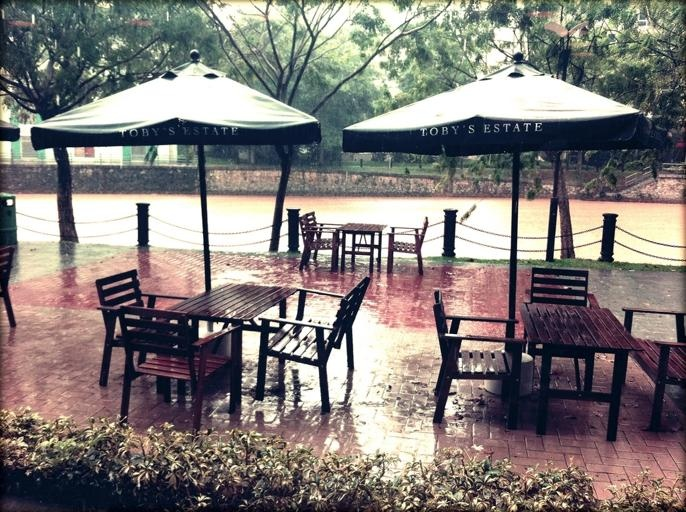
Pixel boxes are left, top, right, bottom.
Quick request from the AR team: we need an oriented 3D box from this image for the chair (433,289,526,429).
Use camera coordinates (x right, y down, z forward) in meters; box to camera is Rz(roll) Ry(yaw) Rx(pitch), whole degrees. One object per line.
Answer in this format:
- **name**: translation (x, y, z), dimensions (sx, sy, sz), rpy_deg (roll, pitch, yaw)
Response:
- **chair**: translation (1.665, 1.344, 9.737), dimensions (1.391, 1.909, 1.568), rpy_deg (0, 6, 12)

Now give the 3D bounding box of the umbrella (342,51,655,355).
- **umbrella**: translation (2.108, -0.671, 10.171), dimensions (3.888, 3.870, 3.355), rpy_deg (-2, 5, -33)

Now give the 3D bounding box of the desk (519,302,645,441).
- **desk**: translation (2.921, 1.369, 9.667), dimensions (1.141, 1.157, 2.262), rpy_deg (3, 12, 10)

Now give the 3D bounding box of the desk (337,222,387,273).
- **desk**: translation (0.396, -0.196, 16.537), dimensions (0.930, 0.893, 1.375), rpy_deg (1, 5, 7)

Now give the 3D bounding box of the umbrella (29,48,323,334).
- **umbrella**: translation (-2.126, -0.860, 10.984), dimensions (4.102, 3.266, 3.116), rpy_deg (-1, 6, -2)
